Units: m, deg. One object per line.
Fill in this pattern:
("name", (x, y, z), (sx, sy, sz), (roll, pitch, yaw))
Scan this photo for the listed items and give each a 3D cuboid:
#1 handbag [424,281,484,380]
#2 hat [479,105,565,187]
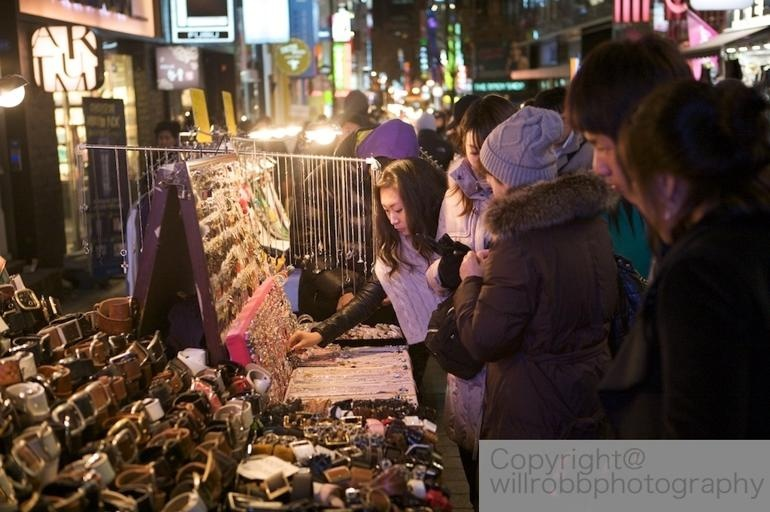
("handbag", (0.312, 0.432, 3.059), (0.220, 0.426, 0.297), (4, -31, -8))
("hat", (0.593, -0.505, 2.738), (0.341, 0.308, 0.328), (13, 43, 21))
